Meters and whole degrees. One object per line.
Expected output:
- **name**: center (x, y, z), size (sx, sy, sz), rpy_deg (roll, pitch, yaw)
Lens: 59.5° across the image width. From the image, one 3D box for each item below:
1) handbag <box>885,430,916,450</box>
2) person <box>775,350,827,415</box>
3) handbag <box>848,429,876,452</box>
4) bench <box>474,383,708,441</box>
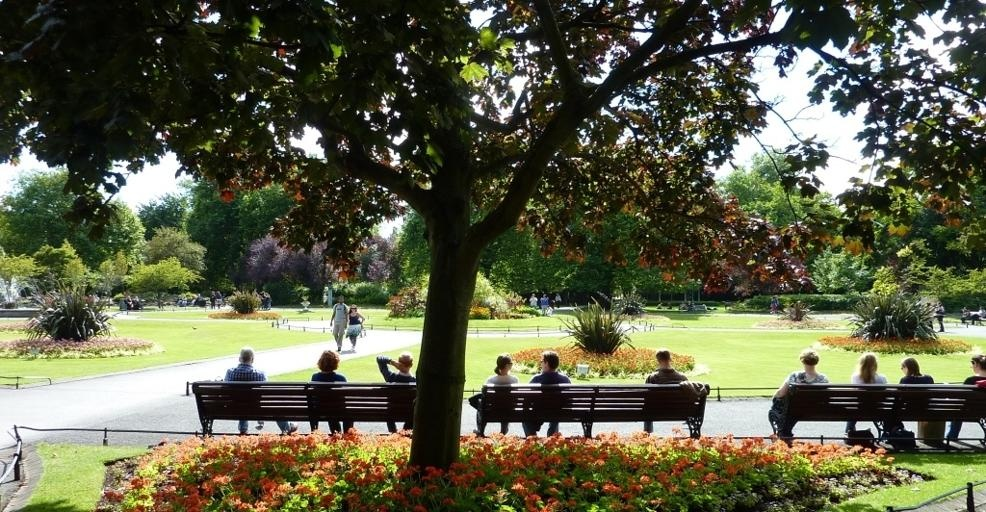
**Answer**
- **handbag**: center (8.928, 4.071, 18.950), size (0.587, 0.509, 0.397), rpy_deg (-4, 3, 6)
- **person**: center (7.165, 3.006, 19.825), size (1.421, 1.690, 1.160), rpy_deg (4, 10, 17)
- **handbag**: center (8.024, 4.021, 18.755), size (0.588, 0.358, 0.407), rpy_deg (0, -6, 0)
- **bench**: center (2.182, 3.356, 18.894), size (4.919, 1.187, 0.340), rpy_deg (0, 6, 0)
